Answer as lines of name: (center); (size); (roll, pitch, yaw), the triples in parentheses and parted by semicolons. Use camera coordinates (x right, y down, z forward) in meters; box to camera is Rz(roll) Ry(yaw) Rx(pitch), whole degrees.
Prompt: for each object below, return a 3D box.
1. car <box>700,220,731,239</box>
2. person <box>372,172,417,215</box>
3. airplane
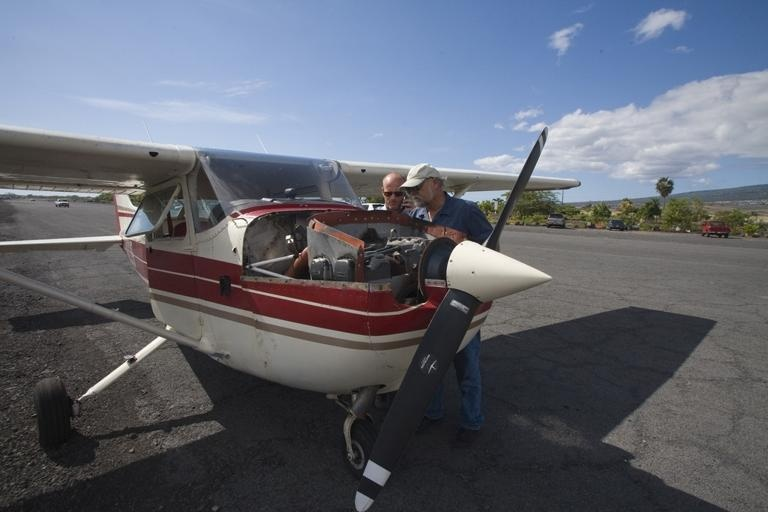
car: (24.451, -2.013, 30.899); (1.753, 1.235, 2.303); (0, 6, 6)
person: (0.080, -0.730, 5.307); (0.762, 0.549, 0.471); (0, 8, 6)
airplane: (-1.477, 0.128, 4.427); (4.056, 1.713, 4.730); (0, 0, -40)
